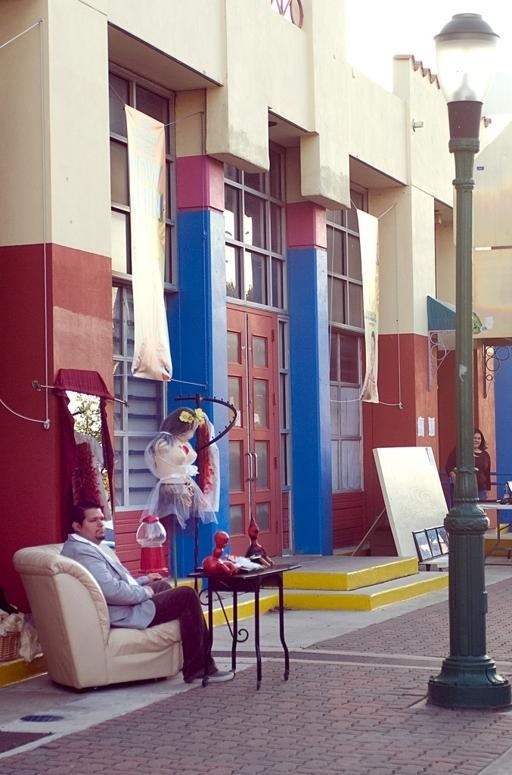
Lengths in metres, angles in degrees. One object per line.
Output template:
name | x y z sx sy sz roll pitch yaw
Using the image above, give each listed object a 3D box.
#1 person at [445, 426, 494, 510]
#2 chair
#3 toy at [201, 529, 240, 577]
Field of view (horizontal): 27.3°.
person | 3.398 0.924 16.554 0.386 1.659 0.464 4 -6 -23
chair | -0.968 1.271 6.258 0.781 0.860 0.675 0 0 -29
toy | -0.220 0.964 6.192 0.173 0.299 0.218 0 0 -25
